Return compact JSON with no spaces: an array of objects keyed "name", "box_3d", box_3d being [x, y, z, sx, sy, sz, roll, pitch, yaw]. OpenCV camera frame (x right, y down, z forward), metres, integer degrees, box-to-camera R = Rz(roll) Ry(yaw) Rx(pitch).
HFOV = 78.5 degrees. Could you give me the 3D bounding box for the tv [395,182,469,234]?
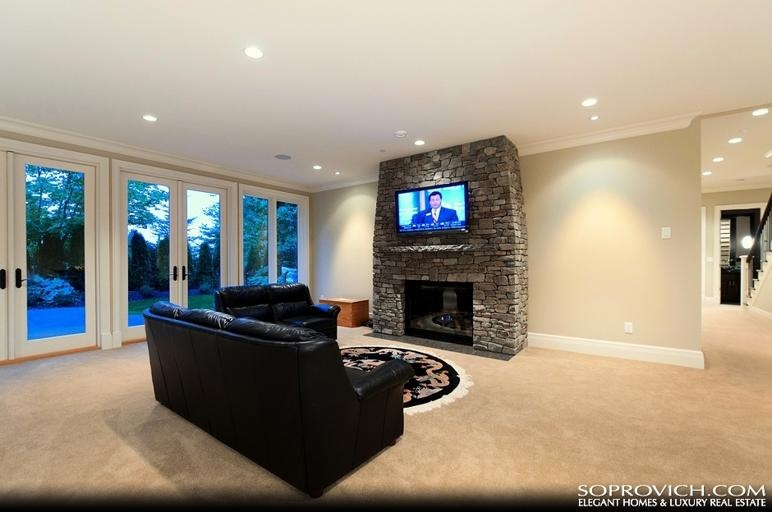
[{"name":"tv","box_3d":[0.712,-0.683,7.141,0.138,0.776,1.449,0,0,-43]}]
